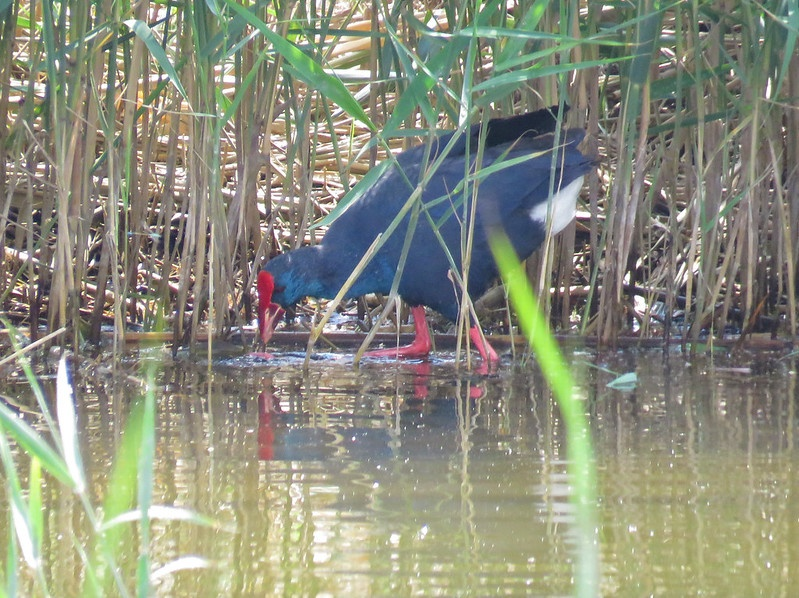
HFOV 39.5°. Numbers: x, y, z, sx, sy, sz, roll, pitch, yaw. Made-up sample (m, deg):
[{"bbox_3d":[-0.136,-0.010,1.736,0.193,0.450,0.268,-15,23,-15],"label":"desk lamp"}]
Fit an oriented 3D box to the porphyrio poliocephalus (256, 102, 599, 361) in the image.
[{"bbox_3d":[0.119,-0.287,5.054,1.498,1.150,0.718,-1,-5,11],"label":"porphyrio poliocephalus"}]
